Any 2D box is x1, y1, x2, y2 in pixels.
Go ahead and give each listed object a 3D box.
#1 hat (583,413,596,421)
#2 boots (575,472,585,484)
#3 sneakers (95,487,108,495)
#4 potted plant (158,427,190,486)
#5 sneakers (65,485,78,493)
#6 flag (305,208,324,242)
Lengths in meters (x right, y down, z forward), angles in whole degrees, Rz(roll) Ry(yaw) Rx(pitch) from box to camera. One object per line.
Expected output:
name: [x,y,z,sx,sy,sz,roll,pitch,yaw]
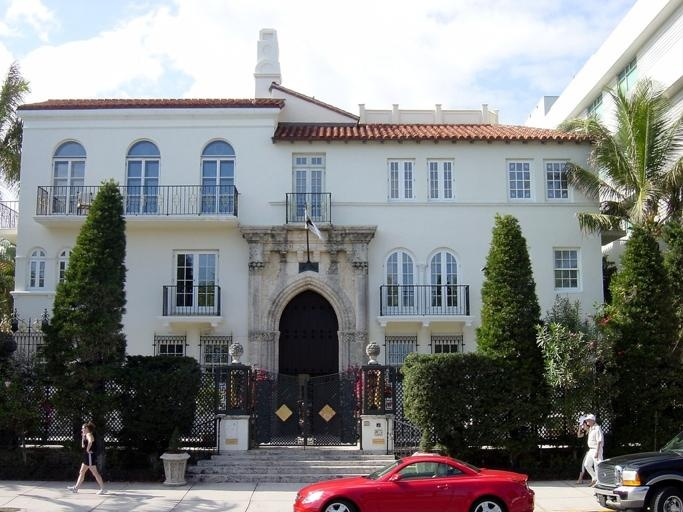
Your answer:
hat: [7.664,5.013,33.761,0.400,0.220,0.279,-2,-10,18]
boots: [7.599,7.025,34.603,0.281,0.420,1.319,-2,-11,12]
sneakers: [-7.368,7.228,33.259,0.347,0.159,0.131,1,-16,0]
potted plant: [-5.303,6.300,34.439,0.990,1.840,1.026,-2,-4,32]
sneakers: [-8.358,7.185,33.566,0.444,0.200,0.153,16,-14,19]
flag: [-1.076,-1.172,41.594,0.115,1.010,0.955,-27,-50,16]
